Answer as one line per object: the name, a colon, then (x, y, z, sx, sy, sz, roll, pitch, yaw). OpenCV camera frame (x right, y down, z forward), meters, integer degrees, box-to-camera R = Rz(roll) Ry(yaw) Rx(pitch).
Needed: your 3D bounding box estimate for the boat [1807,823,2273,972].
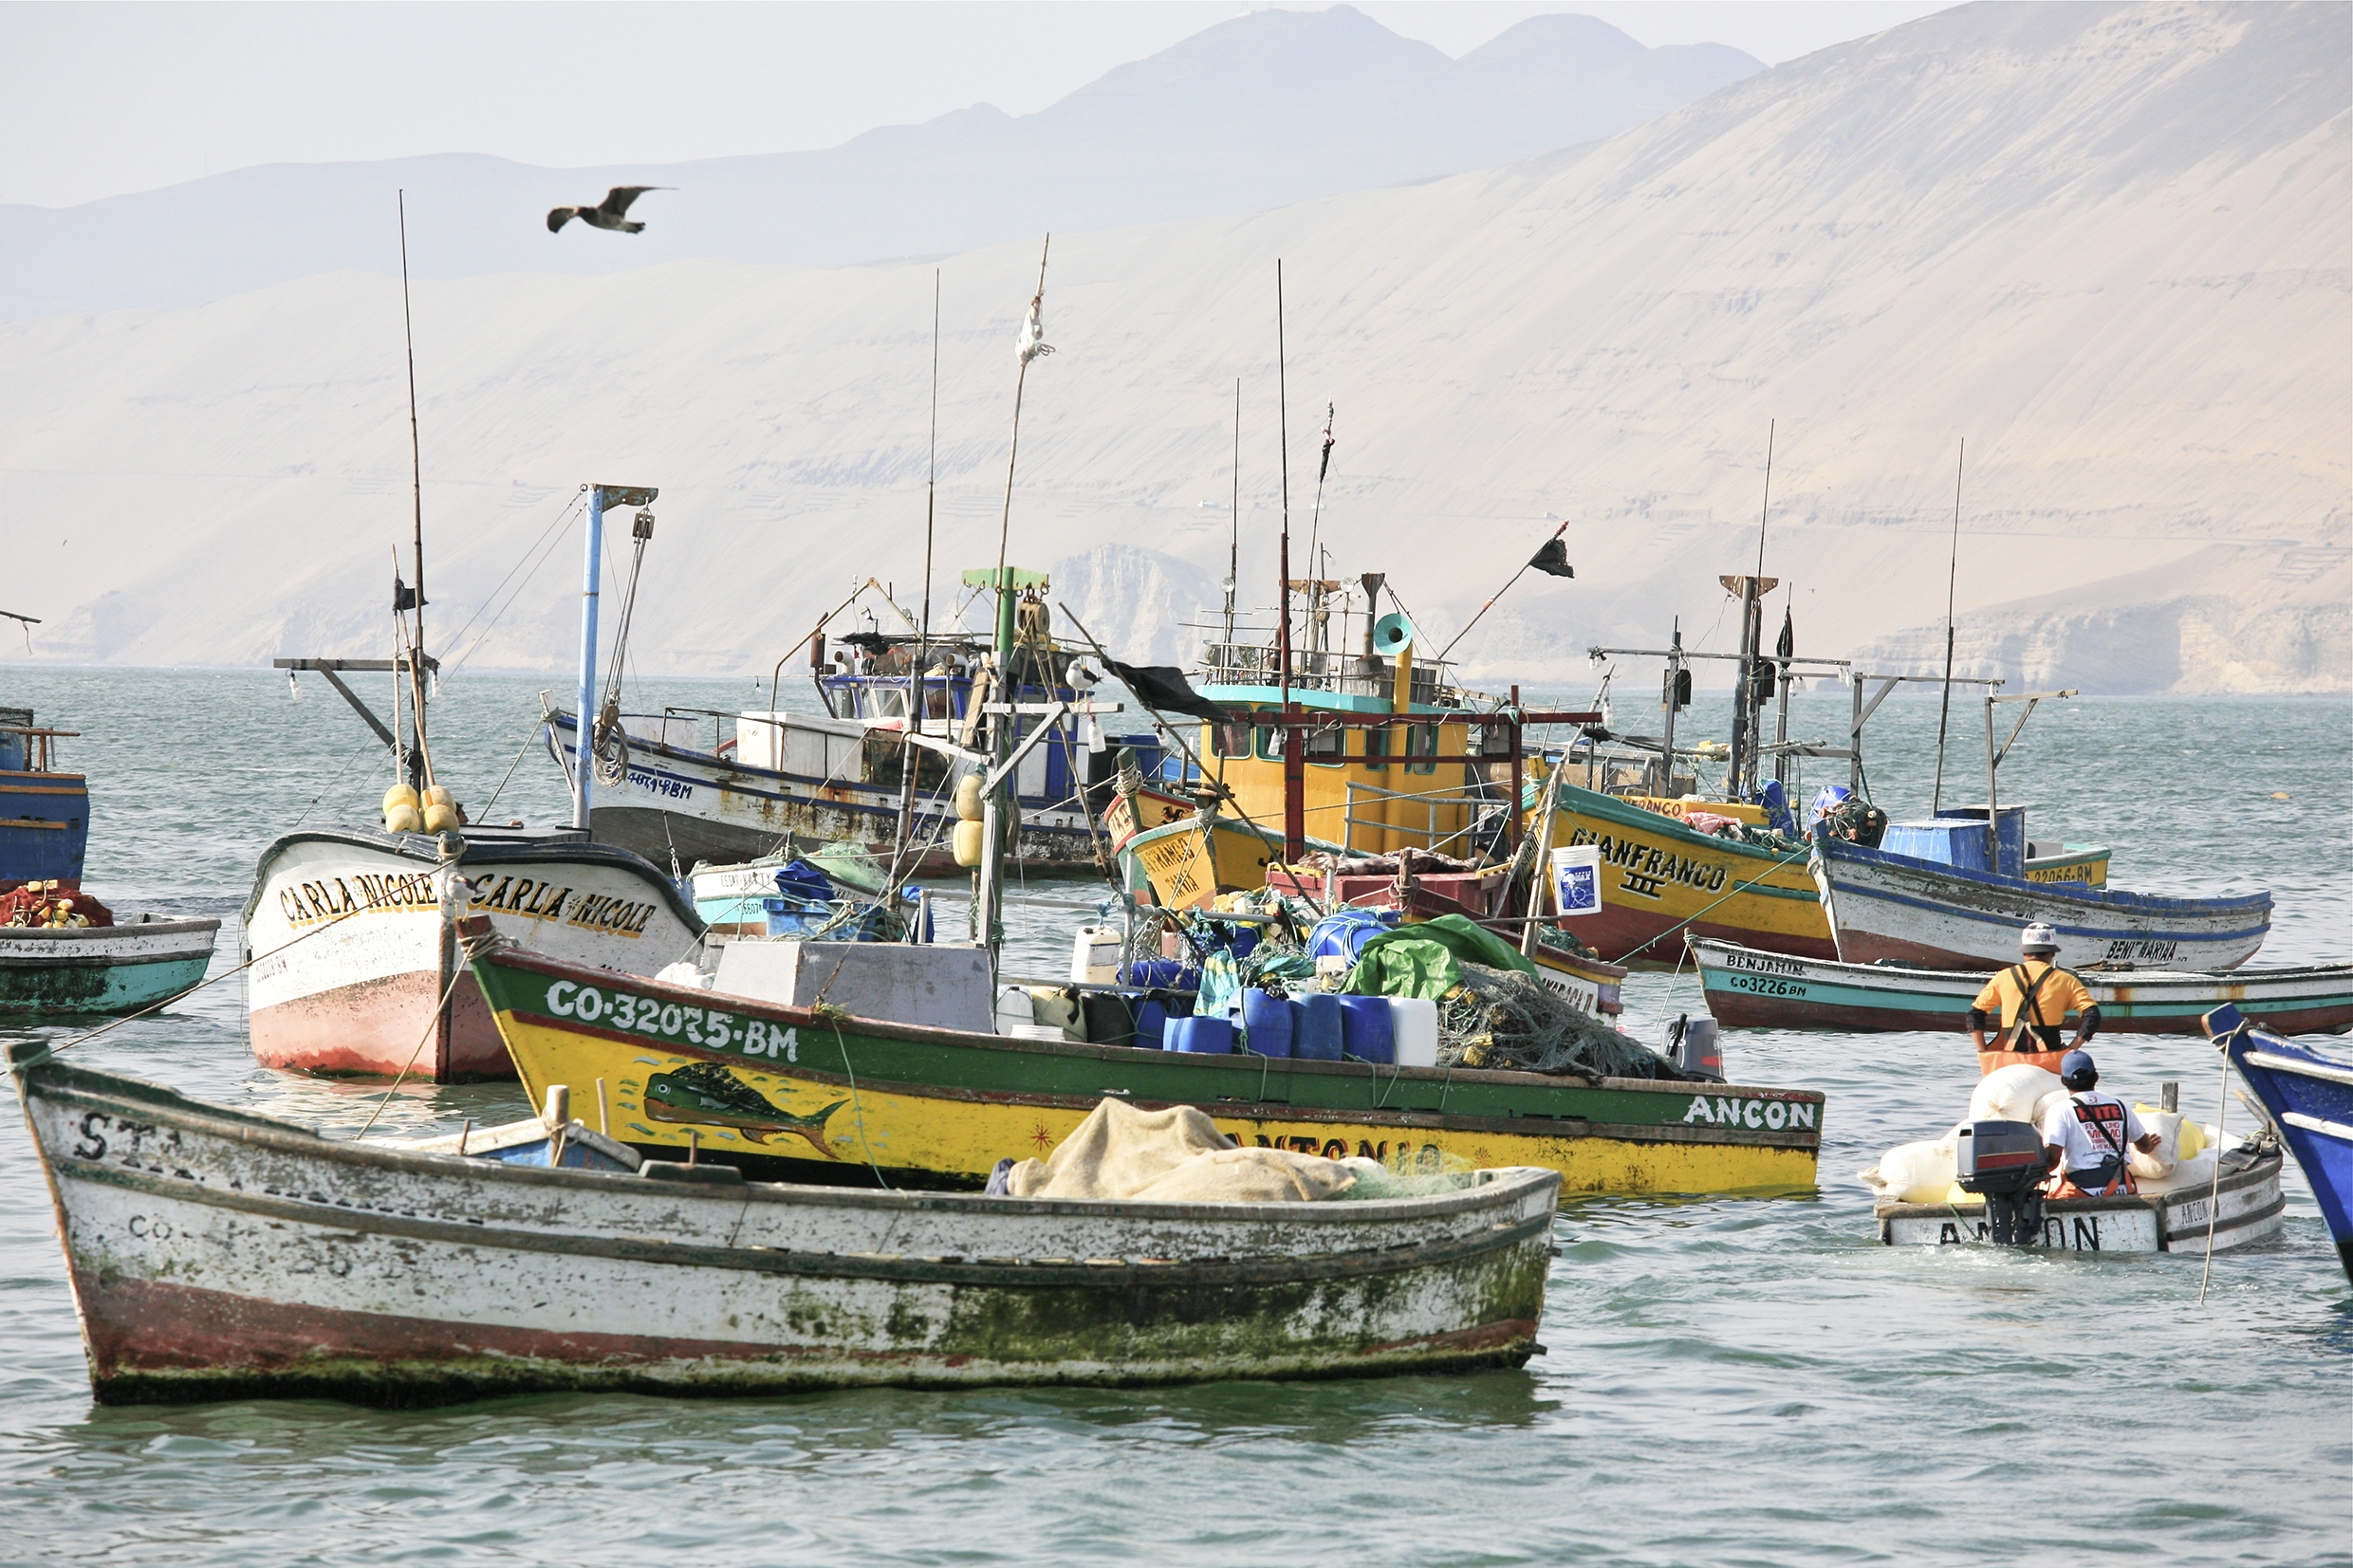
boat: (78.325, 10.878, 492.187, 17.333, 13.098, 15.706, 1, 0, 5)
